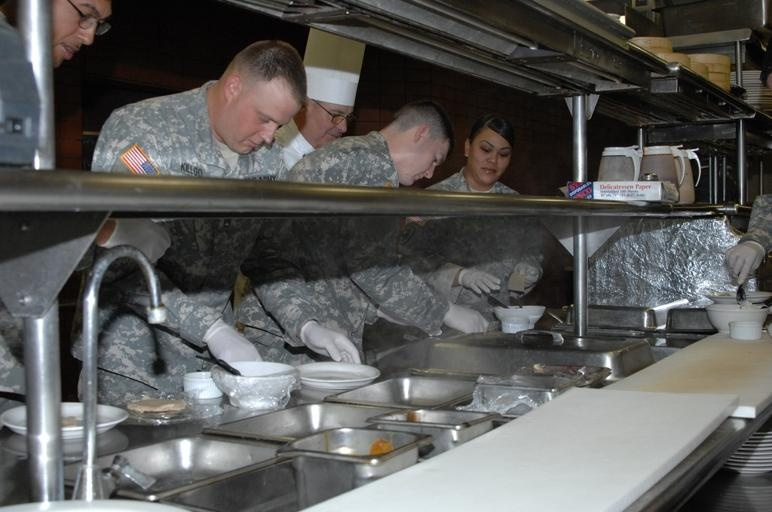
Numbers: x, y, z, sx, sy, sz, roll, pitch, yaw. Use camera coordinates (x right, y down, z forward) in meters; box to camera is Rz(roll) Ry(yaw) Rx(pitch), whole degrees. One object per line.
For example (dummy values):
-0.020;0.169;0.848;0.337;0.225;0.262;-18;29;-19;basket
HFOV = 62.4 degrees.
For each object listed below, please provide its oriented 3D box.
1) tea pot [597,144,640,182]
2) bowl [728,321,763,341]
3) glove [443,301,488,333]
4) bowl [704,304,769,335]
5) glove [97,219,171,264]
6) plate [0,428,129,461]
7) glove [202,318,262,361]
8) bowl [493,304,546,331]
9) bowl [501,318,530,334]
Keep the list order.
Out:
0.807;-0.328;2.249;0.151;0.134;0.125;7;8;37;tea pot
1.261;0.259;2.213;0.082;0.031;0.076;0;4;0;bowl
0.320;0.252;2.570;0.174;0.100;0.050;17;-31;28;glove
1.274;0.219;2.336;0.151;0.066;0.147;1;-1;0;bowl
-0.467;-0.030;1.177;0.066;0.085;0.162;11;3;24;glove
-0.539;0.318;1.062;0.166;0.020;0.155;3;4;5;plate
-0.448;0.268;1.853;0.161;0.101;0.063;34;-41;11;glove
0.482;0.218;2.337;0.122;0.049;0.117;1;-2;0;bowl
0.476;0.250;2.305;0.072;0.038;0.066;0;0;0;bowl
